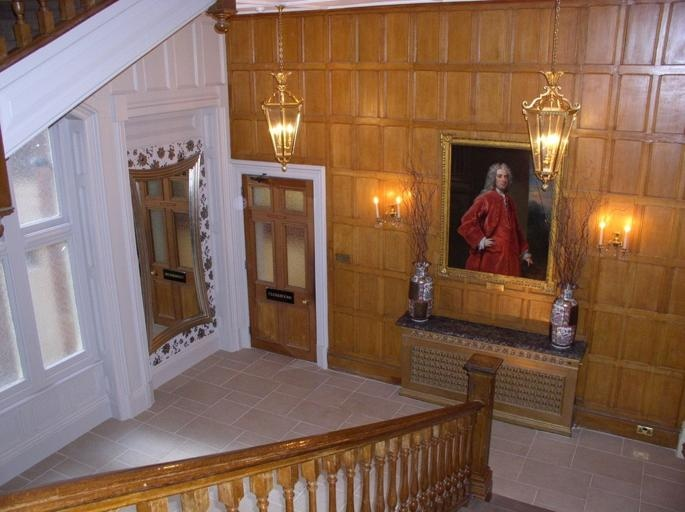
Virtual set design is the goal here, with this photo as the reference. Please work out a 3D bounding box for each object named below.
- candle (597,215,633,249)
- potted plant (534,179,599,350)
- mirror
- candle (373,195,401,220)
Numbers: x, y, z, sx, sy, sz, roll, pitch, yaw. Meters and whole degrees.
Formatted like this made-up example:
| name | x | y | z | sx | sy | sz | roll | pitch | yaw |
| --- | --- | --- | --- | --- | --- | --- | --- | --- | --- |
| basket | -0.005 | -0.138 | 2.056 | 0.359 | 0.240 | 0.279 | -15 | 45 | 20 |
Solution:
| name | x | y | z | sx | sy | sz | roll | pitch | yaw |
| --- | --- | --- | --- | --- | --- | --- | --- | --- | --- |
| candle | 2.923 | -0.264 | 5.428 | 0.301 | 0.384 | 0.140 | 5 | 12 | 33 |
| potted plant | 2.454 | 0.155 | 5.646 | 0.559 | 1.923 | 0.329 | 14 | 3 | 21 |
| mirror | -2.286 | -0.075 | 6.693 | 0.391 | 2.201 | 1.300 | 14 | 3 | 26 |
| candle | 0.578 | -0.608 | 6.401 | 0.293 | 0.304 | 0.301 | 8 | 15 | 40 |
